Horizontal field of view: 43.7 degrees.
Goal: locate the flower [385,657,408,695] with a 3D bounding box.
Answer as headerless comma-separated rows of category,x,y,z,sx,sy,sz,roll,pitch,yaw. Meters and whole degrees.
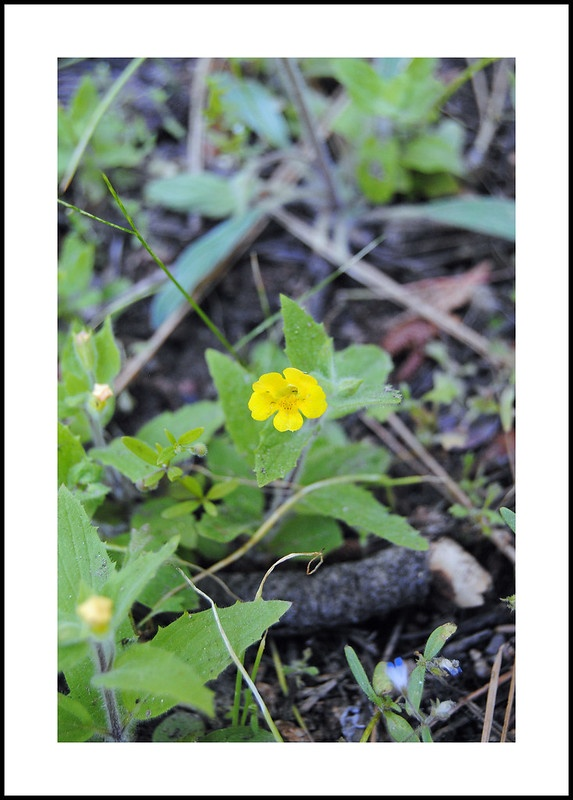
flower,0.262,0.654,1.687,0.054,0.057,0.108,-4,13,5

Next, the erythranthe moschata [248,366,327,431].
erythranthe moschata,-0.009,0.014,1.711,0.182,0.064,0.173,-22,-34,39

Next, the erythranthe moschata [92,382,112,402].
erythranthe moschata,-0.461,-0.019,1.805,0.042,0.020,0.046,31,35,14
